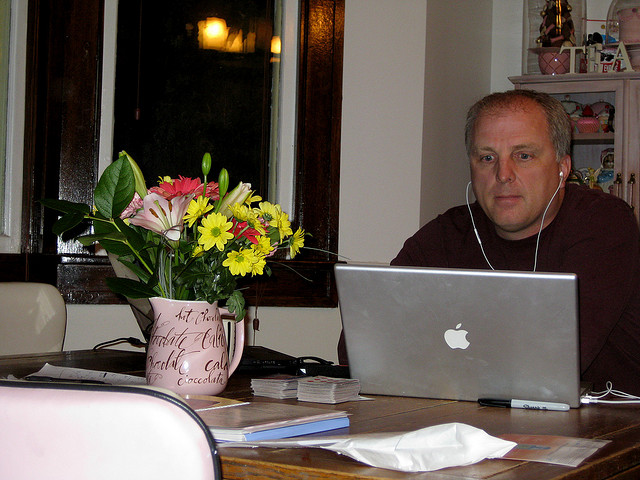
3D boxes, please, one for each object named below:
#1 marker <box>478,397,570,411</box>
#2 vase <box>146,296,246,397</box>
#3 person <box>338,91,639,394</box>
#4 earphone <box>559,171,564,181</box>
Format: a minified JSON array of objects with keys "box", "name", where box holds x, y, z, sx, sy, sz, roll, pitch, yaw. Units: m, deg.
[{"box":[0.417,0.330,1.225,0.186,0.027,0.016,3,8,8],"name":"marker"},{"box":[-0.254,0.229,1.267,0.215,0.221,0.157,6,-7,-39],"name":"vase"},{"box":[0.497,0.026,2.116,0.835,1.276,0.864,-8,-18,42],"name":"person"},{"box":[0.721,-0.192,1.816,0.005,0.024,0.016,8,-6,-19],"name":"earphone"}]
